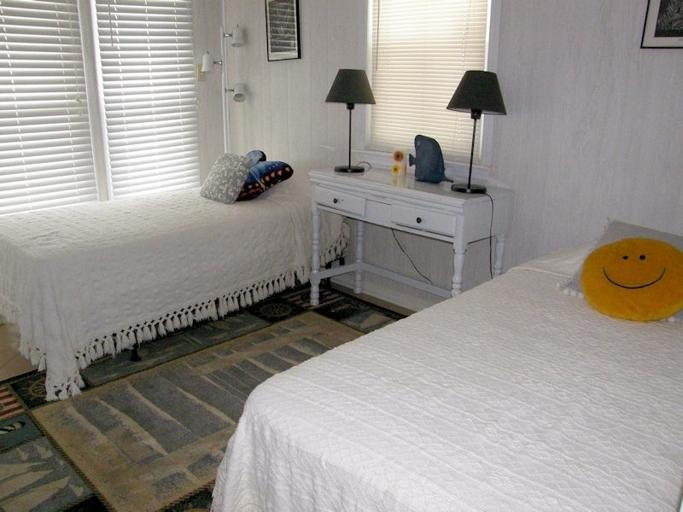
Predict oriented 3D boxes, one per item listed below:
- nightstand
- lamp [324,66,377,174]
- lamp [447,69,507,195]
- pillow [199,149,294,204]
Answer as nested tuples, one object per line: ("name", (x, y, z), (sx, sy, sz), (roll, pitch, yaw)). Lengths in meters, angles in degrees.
("nightstand", (0.385, -0.032, 3.196), (0.529, 0.938, 1.230), (-12, 21, -42))
("lamp", (0.061, -0.920, 3.314), (0.313, 0.658, 0.520), (2, 24, 3))
("lamp", (0.758, -0.713, 2.771), (0.314, 0.641, 0.470), (9, 25, 16))
("pillow", (-0.673, -0.583, 3.543), (0.486, 0.192, 0.447), (-22, 28, -33))
